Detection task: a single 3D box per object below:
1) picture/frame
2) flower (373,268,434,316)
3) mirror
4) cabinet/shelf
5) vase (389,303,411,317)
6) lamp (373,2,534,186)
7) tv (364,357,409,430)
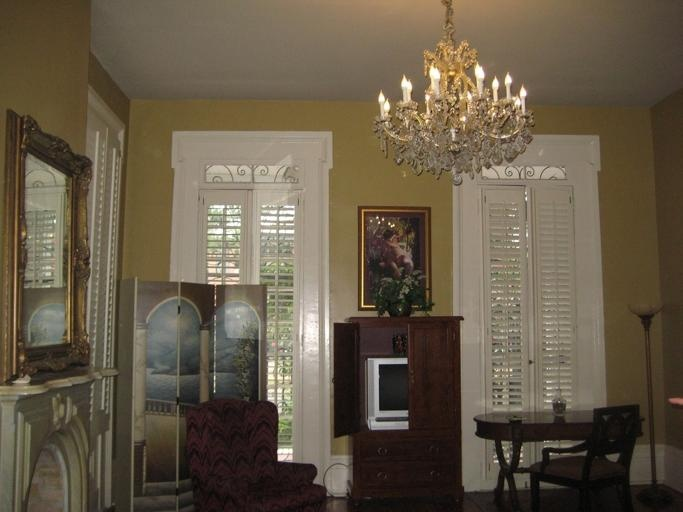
[{"bbox_3d":[0.525,0.068,6.793,0.965,1.494,0.094,0,-9,-7],"label":"picture/frame"},{"bbox_3d":[0.611,0.414,6.661,0.463,0.407,0.584,1,4,-11],"label":"flower"},{"bbox_3d":[-2.174,-0.014,4.757,0.175,1.835,0.938,-2,-8,14],"label":"mirror"},{"bbox_3d":[0.565,1.555,6.317,1.506,2.250,0.833,0,-8,-3],"label":"cabinet/shelf"},{"bbox_3d":[0.577,0.544,6.481,0.226,0.114,0.081,-3,-8,13],"label":"vase"},{"bbox_3d":[0.829,-1.294,5.302,1.137,1.651,1.574,-1,-8,3],"label":"lamp"},{"bbox_3d":[0.496,1.380,6.558,0.491,0.744,0.375,1,-4,-2],"label":"tv"}]
